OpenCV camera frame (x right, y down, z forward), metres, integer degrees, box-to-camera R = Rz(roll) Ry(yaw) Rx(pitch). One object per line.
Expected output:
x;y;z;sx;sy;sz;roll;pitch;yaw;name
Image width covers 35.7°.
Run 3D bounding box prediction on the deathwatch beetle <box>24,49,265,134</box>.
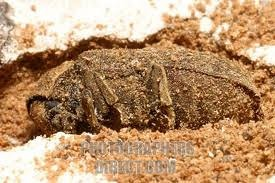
0.014;-0.009;2.037;1.108;0.445;0.244;-11;-39;-5;deathwatch beetle
